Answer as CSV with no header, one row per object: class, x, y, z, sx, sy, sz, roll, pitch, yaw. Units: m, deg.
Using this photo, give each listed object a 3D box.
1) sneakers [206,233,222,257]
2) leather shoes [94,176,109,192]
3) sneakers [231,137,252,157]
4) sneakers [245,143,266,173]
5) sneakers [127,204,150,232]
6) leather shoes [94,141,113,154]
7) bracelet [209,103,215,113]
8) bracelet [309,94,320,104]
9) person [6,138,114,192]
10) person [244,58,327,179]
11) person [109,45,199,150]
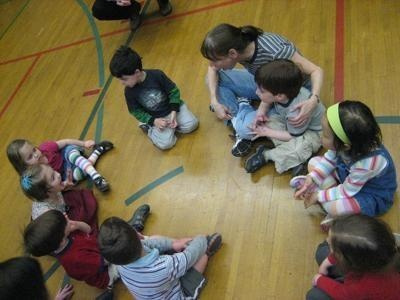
sneakers,0.092,0.623,2.277,0.070,0.076,0.169,21,89,11
leather shoes,-0.777,0.269,2.732,0.070,0.063,0.153,-44,60,9
sneakers,0.316,-0.014,2.576,0.091,0.064,0.162,43,90,13
sneakers,0.401,0.057,2.507,0.221,0.100,0.090,-52,17,-9
sneakers,-0.433,0.486,2.540,0.097,0.087,0.262,-20,35,50
leather shoes,-0.816,-0.048,2.901,0.143,0.059,0.085,-27,55,-24
bracelet,0.099,-0.342,2.796,0.019,0.055,0.039,-14,5,-32
bracelet,0.769,-0.353,2.263,0.065,0.033,0.058,45,40,2
person,-1.122,0.110,2.860,0.691,0.310,0.481,5,61,-8
person,0.558,-0.284,2.412,0.512,0.810,0.626,10,51,30
person,-0.339,-0.436,2.669,0.481,0.731,0.459,-28,49,-11
